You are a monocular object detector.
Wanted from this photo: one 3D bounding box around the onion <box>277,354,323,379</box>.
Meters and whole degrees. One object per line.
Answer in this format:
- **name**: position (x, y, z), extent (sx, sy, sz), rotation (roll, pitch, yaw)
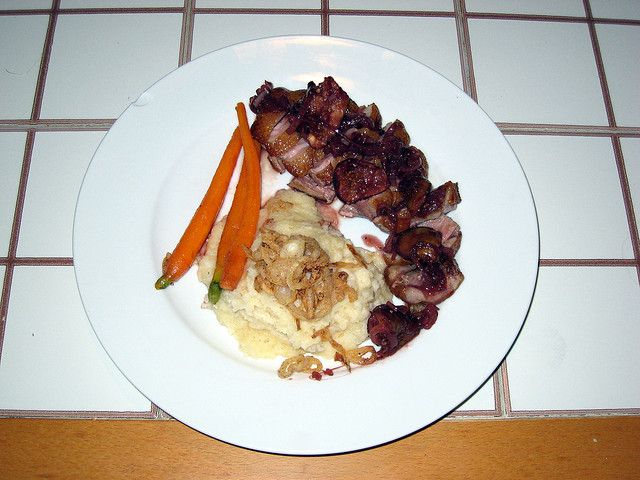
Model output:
- **onion**: position (-0.120, 0.704, 3.272), extent (0.190, 0.049, 0.125), rotation (-11, 59, -13)
